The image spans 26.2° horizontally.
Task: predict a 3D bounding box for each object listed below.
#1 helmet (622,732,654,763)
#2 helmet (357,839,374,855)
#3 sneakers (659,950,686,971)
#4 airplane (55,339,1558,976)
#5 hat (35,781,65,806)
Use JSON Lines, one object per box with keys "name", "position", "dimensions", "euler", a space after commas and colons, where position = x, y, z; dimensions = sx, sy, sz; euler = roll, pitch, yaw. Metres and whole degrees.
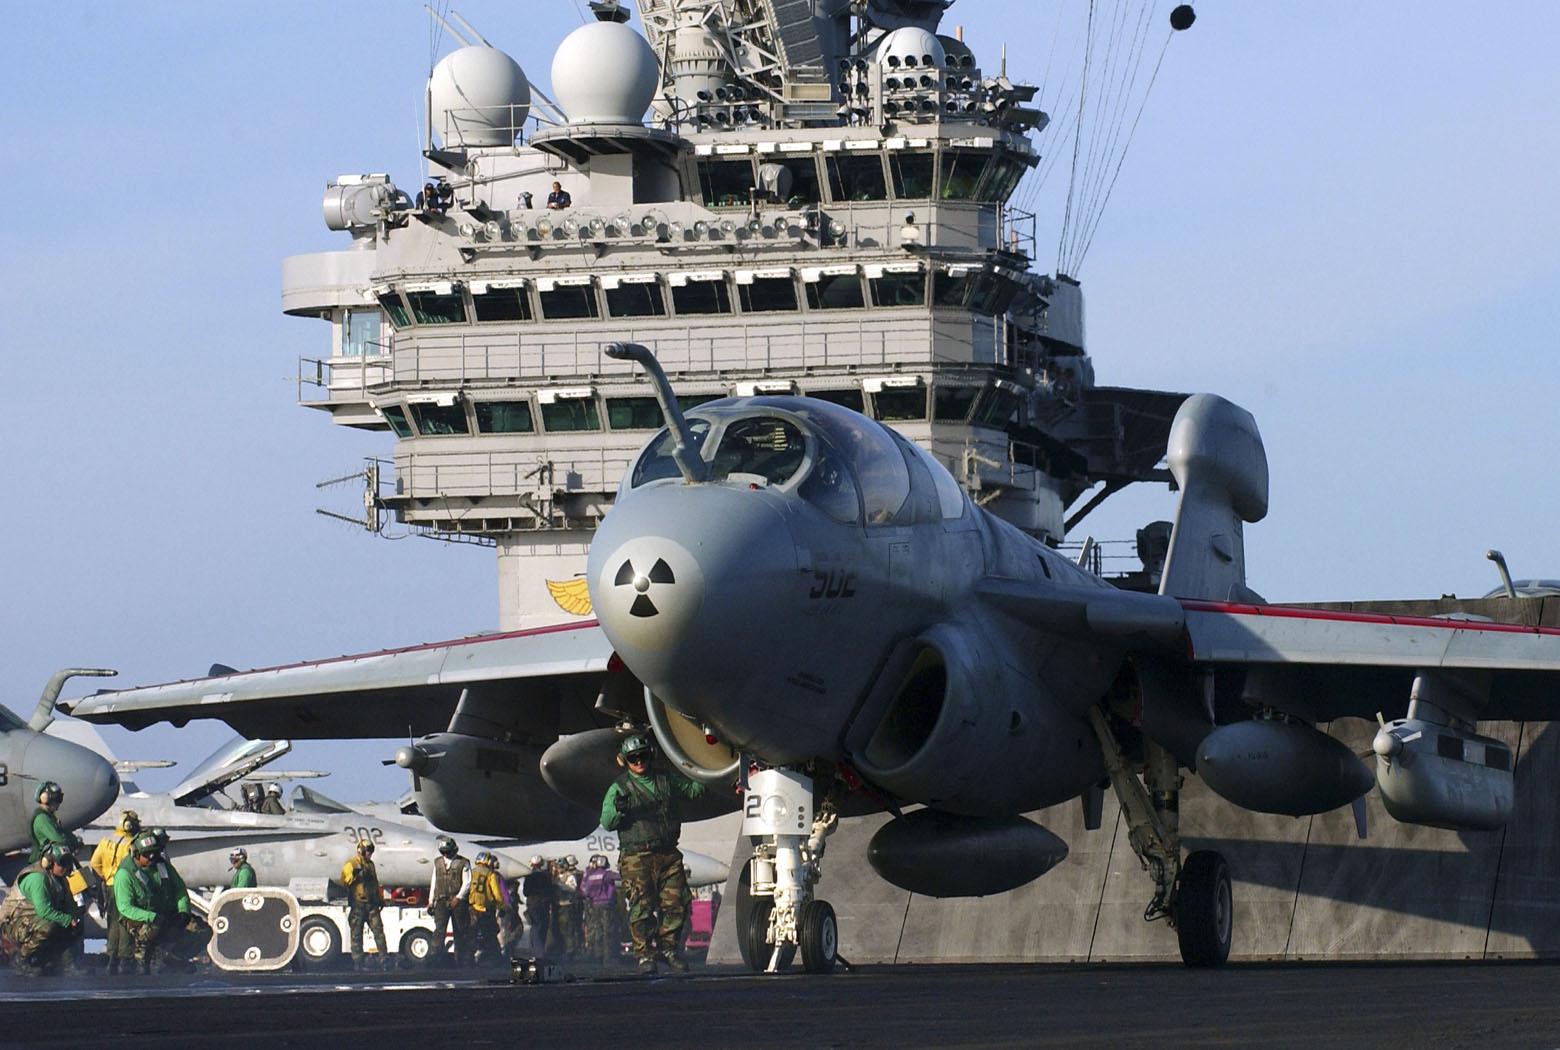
{"name": "helmet", "position": [-1.695, 2.656, 40.877], "dimensions": [0.282, 0.283, 0.381], "euler": [-2, -7, 0]}
{"name": "helmet", "position": [-6.674, 5.120, 54.050], "dimensions": [0.280, 0.334, 0.351], "euler": [-1, 3, -6]}
{"name": "sneakers", "position": [-1.301, 5.440, 42.395], "dimensions": [0.235, 0.272, 0.664], "euler": [1, -15, -3]}
{"name": "airplane", "position": [0.086, 1.511, 50.993], "dimensions": [21.414, 6.863, 26.635], "euler": [-1, 1, -13]}
{"name": "hat", "position": [-10.394, 3.816, 47.591], "dimensions": [0.336, 0.387, 0.362], "euler": [1, 22, 2]}
